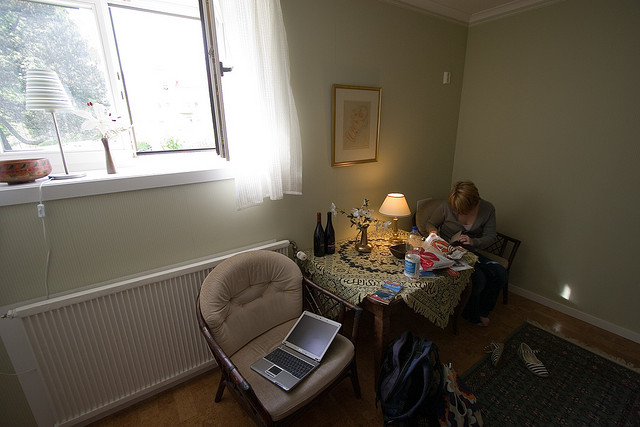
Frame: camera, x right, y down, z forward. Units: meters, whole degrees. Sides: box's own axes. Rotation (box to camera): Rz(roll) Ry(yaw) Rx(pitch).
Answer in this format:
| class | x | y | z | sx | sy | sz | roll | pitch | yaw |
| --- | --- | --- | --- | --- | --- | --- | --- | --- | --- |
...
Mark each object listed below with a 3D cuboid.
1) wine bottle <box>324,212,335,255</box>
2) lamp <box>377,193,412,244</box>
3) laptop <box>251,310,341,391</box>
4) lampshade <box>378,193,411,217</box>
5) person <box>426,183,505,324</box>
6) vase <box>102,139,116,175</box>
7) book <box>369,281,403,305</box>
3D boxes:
| class | x | y | z | sx | sy | sz | roll | pitch | yaw |
| --- | --- | --- | --- | --- | --- | --- | --- | --- | --- |
| wine bottle | 0.102 | 0.179 | 3.992 | 0.111 | 0.414 | 0.144 | 3 | 20 | 0 |
| lamp | 0.794 | 0.062 | 4.297 | 0.305 | 0.486 | 0.307 | 4 | 9 | 34 |
| laptop | -0.146 | 1.034 | 3.357 | 0.402 | 0.248 | 0.619 | 18 | 30 | 34 |
| lampshade | 0.763 | -0.063 | 4.207 | 0.240 | 0.229 | 0.243 | -5 | 24 | -11 |
| person | 1.490 | 0.381 | 4.242 | 0.808 | 1.395 | 0.563 | 13 | 22 | 24 |
| vase | -1.730 | -0.468 | 3.428 | 0.058 | 0.274 | 0.108 | -9 | 23 | -31 |
| book | 0.557 | 0.672 | 3.509 | 0.176 | 0.081 | 0.242 | 17 | 24 | 33 |
